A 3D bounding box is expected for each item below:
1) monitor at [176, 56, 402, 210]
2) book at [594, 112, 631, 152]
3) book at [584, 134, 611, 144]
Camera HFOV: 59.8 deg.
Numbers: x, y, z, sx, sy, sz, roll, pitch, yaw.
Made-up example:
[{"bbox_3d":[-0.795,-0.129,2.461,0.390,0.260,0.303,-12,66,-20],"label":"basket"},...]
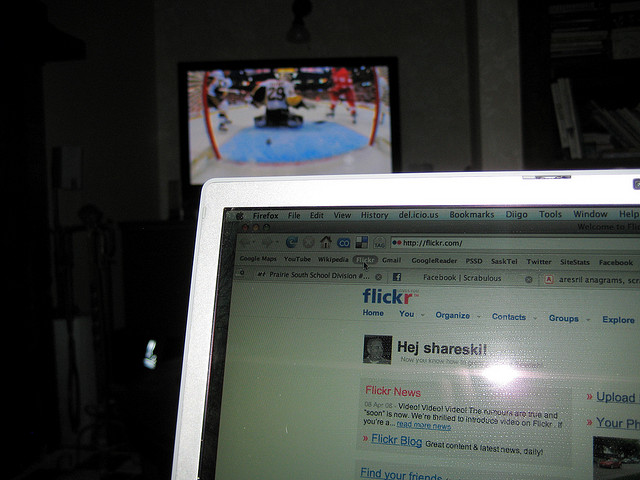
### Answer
[{"bbox_3d":[-0.102,-0.520,2.367,0.963,0.680,0.020,0,5,2],"label":"monitor"},{"bbox_3d":[1.063,-0.396,2.033,0.112,0.150,0.022,0,-7,4],"label":"book"},{"bbox_3d":[1.005,-0.369,2.024,0.074,0.037,0.016,4,-38,7],"label":"book"}]
